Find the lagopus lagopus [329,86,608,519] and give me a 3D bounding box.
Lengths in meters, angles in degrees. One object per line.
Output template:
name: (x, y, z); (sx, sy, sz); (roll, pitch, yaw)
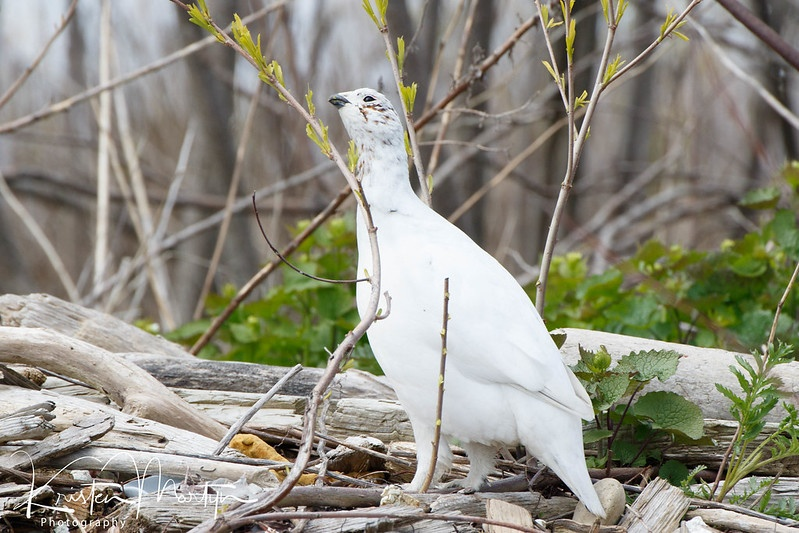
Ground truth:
lagopus lagopus: (0.253, 0.109, 5.357); (1.058, 1.730, 0.411); (0, 2, 0)
